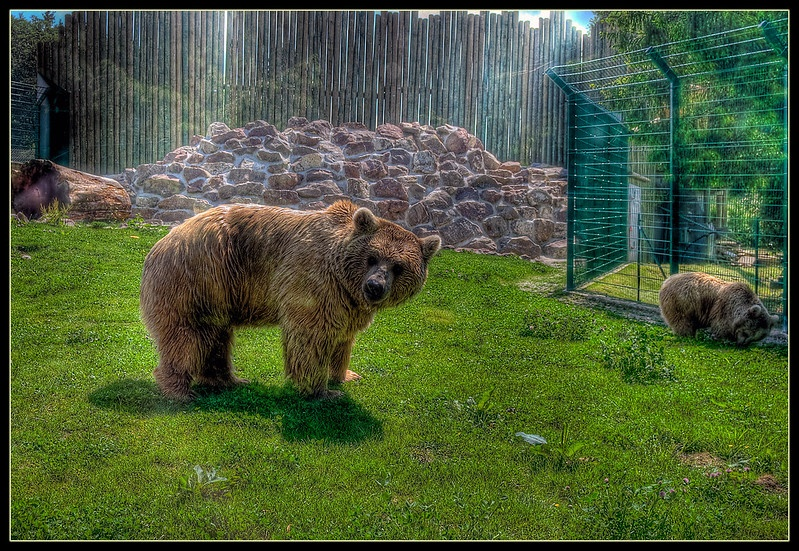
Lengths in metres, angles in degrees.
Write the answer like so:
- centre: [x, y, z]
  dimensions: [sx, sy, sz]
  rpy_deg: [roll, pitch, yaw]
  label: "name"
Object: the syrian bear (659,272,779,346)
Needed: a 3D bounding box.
- centre: [3.125, 0.321, 7.288]
  dimensions: [0.596, 0.647, 1.049]
  rpy_deg: [-5, 17, -42]
  label: "syrian bear"
